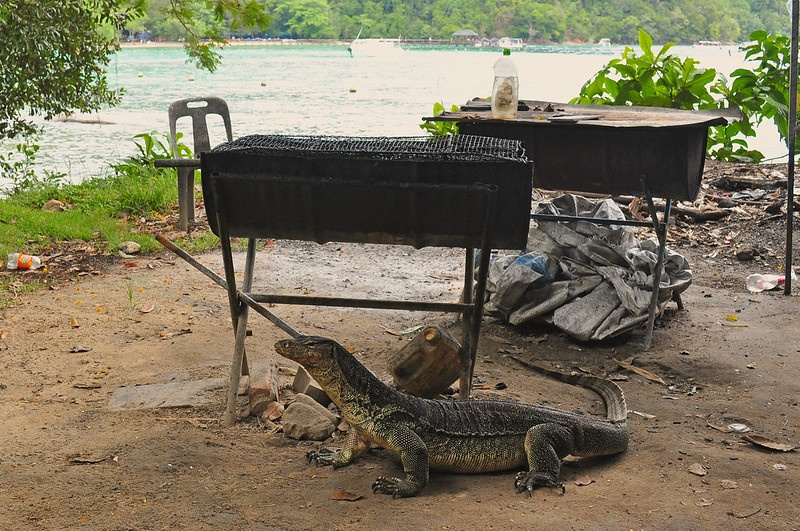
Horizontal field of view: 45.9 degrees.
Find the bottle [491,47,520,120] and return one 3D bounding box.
[{"bbox_3d":[1.245,-2.159,11.188,0.307,0.808,0.498,2,16,5],"label":"bottle"}]

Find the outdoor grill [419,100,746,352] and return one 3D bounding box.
[{"bbox_3d":[2.217,-0.719,12.085,3.545,2.235,2.459,7,10,24],"label":"outdoor grill"}]
